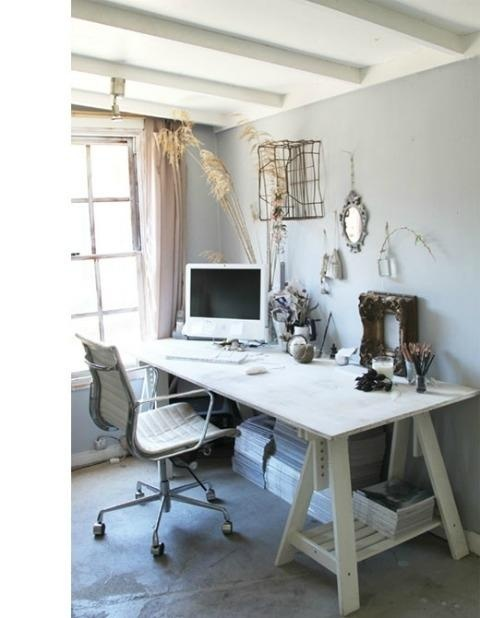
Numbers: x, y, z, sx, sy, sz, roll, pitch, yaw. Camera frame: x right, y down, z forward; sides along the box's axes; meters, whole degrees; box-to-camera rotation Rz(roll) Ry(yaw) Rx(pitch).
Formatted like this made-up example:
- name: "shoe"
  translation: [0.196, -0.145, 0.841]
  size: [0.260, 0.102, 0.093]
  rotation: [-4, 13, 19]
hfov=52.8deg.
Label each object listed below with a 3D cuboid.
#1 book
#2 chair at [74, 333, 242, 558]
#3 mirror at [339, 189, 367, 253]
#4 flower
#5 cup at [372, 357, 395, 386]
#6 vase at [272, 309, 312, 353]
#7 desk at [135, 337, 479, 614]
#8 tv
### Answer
- name: "book"
  translation: [0.438, 0.878, 2.553]
  size: [0.778, 0.228, 0.581]
  rotation: [5, 5, 43]
- name: "chair"
  translation: [-0.390, 0.601, 2.966]
  size: [1.040, 1.347, 1.049]
  rotation: [-9, 15, -29]
- name: "mirror"
  translation: [0.640, -0.494, 2.734]
  size: [0.044, 0.351, 0.204]
  rotation: [-6, 8, -23]
- name: "flower"
  translation: [0.354, -0.005, 3.124]
  size: [0.417, 0.464, 0.342]
  rotation: [1, 5, 22]
- name: "cup"
  translation: [0.687, 0.294, 2.324]
  size: [0.114, 0.119, 0.108]
  rotation: [-1, 9, 0]
- name: "vase"
  translation: [0.309, 0.129, 3.047]
  size: [0.304, 0.282, 0.187]
  rotation: [2, 4, 17]
- name: "desk"
  translation: [0.343, 0.263, 2.199]
  size: [0.874, 0.756, 1.616]
  rotation: [-11, 16, -34]
- name: "tv"
  translation: [-0.083, -0.013, 3.166]
  size: [0.579, 0.487, 0.226]
  rotation: [2, 3, 34]
